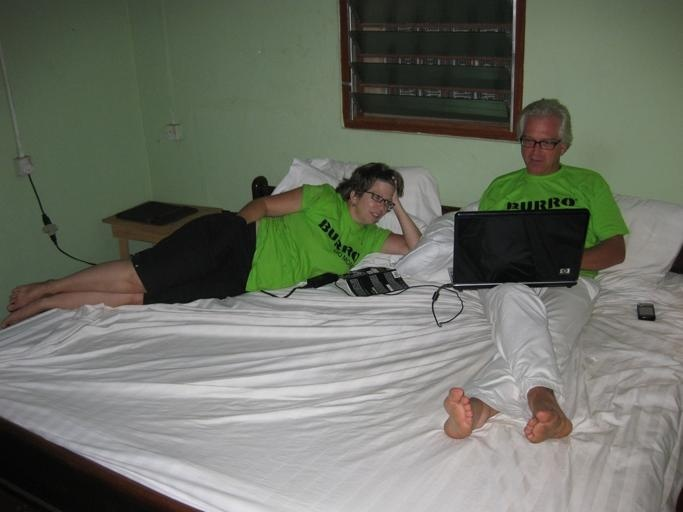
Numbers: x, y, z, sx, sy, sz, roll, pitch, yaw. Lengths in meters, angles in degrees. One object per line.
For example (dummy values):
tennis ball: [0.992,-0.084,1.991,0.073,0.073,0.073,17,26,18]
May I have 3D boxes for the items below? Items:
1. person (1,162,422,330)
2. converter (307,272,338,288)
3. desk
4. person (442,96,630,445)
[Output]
person: [-0.677,-0.055,2.538,1.834,0.549,0.565,-10,49,-25]
converter: [-0.095,0.118,2.393,0.120,0.027,0.063,-16,27,-31]
desk: [-1.133,-0.259,3.195,0.505,0.472,0.496,16,27,20]
person: [0.735,-0.004,1.894,0.613,0.909,1.537,6,25,28]
